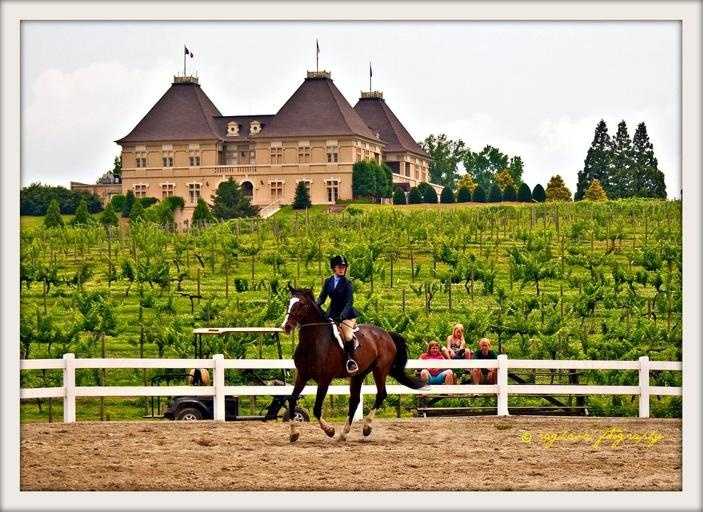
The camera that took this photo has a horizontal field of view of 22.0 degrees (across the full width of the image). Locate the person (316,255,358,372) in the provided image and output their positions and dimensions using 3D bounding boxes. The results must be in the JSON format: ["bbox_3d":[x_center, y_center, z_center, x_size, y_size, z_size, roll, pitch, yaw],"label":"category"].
[{"bbox_3d":[-0.342,1.814,53.890,0.997,3.529,0.689,-1,-2,-1],"label":"person"}]

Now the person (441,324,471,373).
[{"bbox_3d":[3.280,2.879,57.757,0.810,1.324,0.897,2,7,-10],"label":"person"}]

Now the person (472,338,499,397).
[{"bbox_3d":[4.179,3.425,57.394,0.823,1.446,1.292,-1,-3,4],"label":"person"}]

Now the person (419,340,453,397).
[{"bbox_3d":[2.566,3.616,57.311,0.935,1.770,0.994,6,-12,-34],"label":"person"}]

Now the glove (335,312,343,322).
[{"bbox_3d":[-0.386,1.866,53.702,0.345,0.352,0.320,-1,-3,-1],"label":"glove"}]
